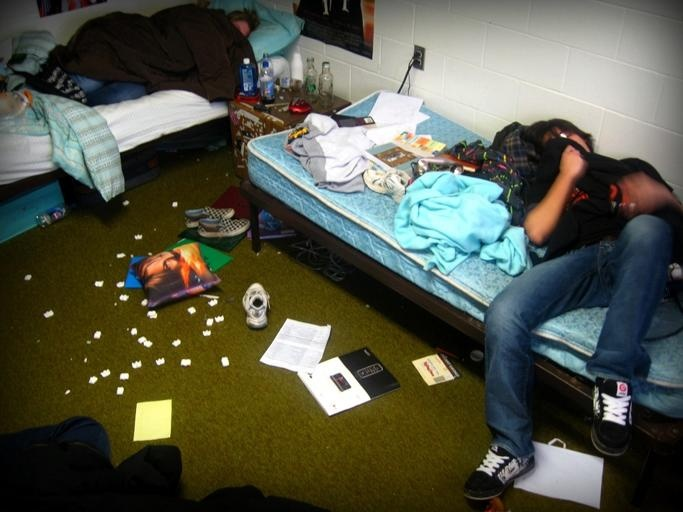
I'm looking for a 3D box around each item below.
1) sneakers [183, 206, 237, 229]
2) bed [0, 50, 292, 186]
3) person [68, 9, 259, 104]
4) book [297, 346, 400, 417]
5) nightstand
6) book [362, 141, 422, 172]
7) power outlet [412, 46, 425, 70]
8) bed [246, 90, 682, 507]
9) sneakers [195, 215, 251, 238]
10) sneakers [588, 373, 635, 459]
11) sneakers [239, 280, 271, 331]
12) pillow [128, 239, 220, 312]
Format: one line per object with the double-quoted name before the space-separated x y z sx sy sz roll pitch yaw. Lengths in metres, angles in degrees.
"sneakers" -0.884 -0.272 3.195 0.364 0.135 0.136 -16 41 -16
"bed" -1.450 -0.845 3.011 1.033 0.254 0.618 -28 45 -33
"person" -1.316 -1.490 3.485 0.922 0.300 0.921 -18 46 -25
"book" 0.039 0.627 2.370 0.351 0.036 0.269 -17 44 -22
"nightstand" -0.372 -0.998 3.406 0.634 0.643 0.645 -32 48 -33
"book" 0.308 -0.580 2.782 0.190 0.047 0.201 -29 48 -34
"power outlet" 0.519 -1.320 3.174 0.107 0.152 0.015 26 44 32
"bed" 0.612 0.240 2.276 1.012 0.734 1.571 -33 55 -27
"sneakers" -0.769 -0.199 3.137 0.264 0.099 0.150 -10 40 -14
"sneakers" 1.053 0.611 1.861 0.181 0.252 0.174 26 41 29
"sneakers" -0.466 0.271 2.655 0.150 0.100 0.275 -3 52 -15
"pillow" -0.959 0.099 2.789 0.419 0.173 0.319 -15 40 -23
